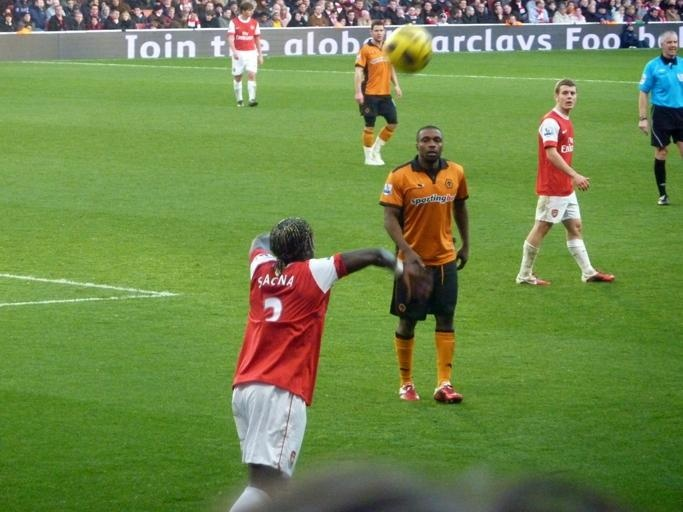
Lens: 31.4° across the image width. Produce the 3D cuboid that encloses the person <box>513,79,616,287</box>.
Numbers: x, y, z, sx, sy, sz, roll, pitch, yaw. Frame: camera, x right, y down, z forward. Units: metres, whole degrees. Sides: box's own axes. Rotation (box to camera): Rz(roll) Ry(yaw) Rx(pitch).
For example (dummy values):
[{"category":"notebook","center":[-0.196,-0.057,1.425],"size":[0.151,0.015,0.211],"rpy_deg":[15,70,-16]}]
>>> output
[{"category":"person","center":[2.394,-0.788,13.467],"size":[0.970,2.275,1.330],"rpy_deg":[-3,12,12]}]

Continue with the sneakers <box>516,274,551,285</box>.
[{"category":"sneakers","center":[2.137,0.264,13.645],"size":[0.377,0.139,0.132],"rpy_deg":[0,10,-3]}]

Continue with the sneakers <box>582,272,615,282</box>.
[{"category":"sneakers","center":[2.906,0.244,13.697],"size":[0.324,0.124,0.131],"rpy_deg":[-1,7,9]}]

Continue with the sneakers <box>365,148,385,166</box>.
[{"category":"sneakers","center":[0.506,-1.581,19.645],"size":[0.405,0.258,0.190],"rpy_deg":[1,23,38]}]

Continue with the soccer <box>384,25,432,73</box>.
[{"category":"soccer","center":[0.846,-2.627,15.614],"size":[0.572,0.594,0.474],"rpy_deg":[-4,11,1]}]

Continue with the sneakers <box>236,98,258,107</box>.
[{"category":"sneakers","center":[-2.039,-3.147,25.302],"size":[0.537,0.205,0.158],"rpy_deg":[-2,14,8]}]

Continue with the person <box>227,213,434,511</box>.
[{"category":"person","center":[-0.423,0.655,8.663],"size":[1.281,1.742,0.887],"rpy_deg":[-14,14,-38]}]

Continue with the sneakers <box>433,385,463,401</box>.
[{"category":"sneakers","center":[0.923,1.184,10.624],"size":[0.130,0.115,0.238],"rpy_deg":[-3,-1,-30]}]
